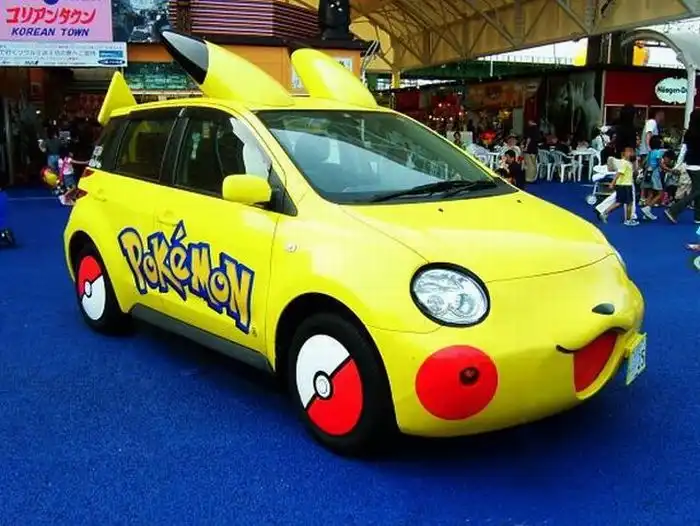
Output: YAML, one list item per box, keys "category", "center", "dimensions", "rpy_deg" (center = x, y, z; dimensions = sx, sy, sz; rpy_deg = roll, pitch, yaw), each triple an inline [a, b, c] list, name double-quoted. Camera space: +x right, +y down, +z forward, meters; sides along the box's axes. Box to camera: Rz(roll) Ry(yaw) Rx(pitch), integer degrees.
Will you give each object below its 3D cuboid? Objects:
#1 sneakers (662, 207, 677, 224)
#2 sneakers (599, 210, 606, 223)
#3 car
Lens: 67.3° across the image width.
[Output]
- category: "sneakers"
  center: [6.542, -0.992, 10.751]
  dimensions: [0.235, 0.293, 0.577]
  rpy_deg: [8, 16, 32]
- category: "sneakers"
  center: [5.189, -0.946, 10.811]
  dimensions: [0.311, 0.126, 0.108]
  rpy_deg: [51, 9, -44]
- category: "car"
  center: [-0.318, -0.242, 4.265]
  dimensions: [4.467, 2.780, 2.244]
  rpy_deg: [13, 17, 43]
